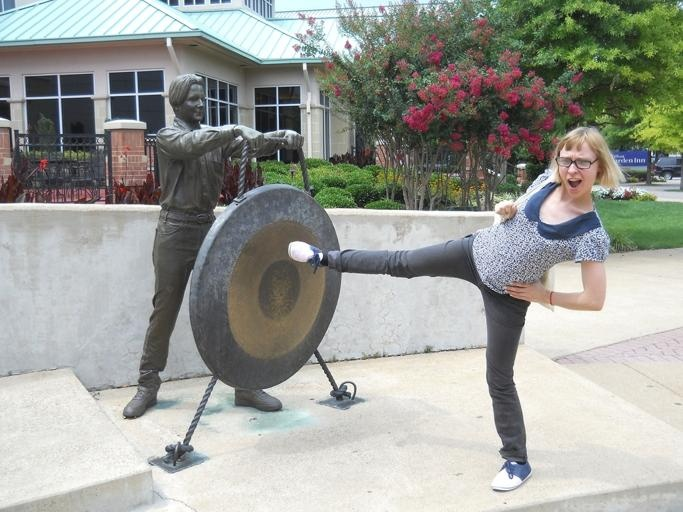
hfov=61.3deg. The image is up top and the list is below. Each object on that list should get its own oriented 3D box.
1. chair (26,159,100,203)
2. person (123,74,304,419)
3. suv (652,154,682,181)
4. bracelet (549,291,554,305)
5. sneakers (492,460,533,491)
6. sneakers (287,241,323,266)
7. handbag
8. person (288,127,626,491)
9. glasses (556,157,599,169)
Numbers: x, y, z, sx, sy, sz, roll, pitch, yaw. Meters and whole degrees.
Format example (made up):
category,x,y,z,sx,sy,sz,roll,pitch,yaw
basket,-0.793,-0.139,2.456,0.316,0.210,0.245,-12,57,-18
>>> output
category,x,y,z,sx,sy,sz,roll,pitch,yaw
chair,-4.827,-1.293,10.034,1.120,0.780,4.072,-5,11,-26
person,-1.102,-0.079,4.412,1.158,2.580,0.595,0,10,0
suv,27.894,-7.648,49.492,3.501,1.704,1.957,-4,16,5
bracelet,1.211,0.243,3.323,0.025,0.073,0.037,4,11,19
sneakers,1.044,1.342,3.530,0.110,0.123,0.305,-1,3,42
sneakers,-0.252,-0.021,3.932,0.225,0.141,0.092,15,23,6
handbag,1.059,-0.017,3.365,0.128,0.476,0.482,-29,13,7
person,0.853,0.306,3.587,1.493,2.158,0.462,5,11,24
glasses,1.333,-0.526,3.270,0.200,0.066,0.068,4,11,22
